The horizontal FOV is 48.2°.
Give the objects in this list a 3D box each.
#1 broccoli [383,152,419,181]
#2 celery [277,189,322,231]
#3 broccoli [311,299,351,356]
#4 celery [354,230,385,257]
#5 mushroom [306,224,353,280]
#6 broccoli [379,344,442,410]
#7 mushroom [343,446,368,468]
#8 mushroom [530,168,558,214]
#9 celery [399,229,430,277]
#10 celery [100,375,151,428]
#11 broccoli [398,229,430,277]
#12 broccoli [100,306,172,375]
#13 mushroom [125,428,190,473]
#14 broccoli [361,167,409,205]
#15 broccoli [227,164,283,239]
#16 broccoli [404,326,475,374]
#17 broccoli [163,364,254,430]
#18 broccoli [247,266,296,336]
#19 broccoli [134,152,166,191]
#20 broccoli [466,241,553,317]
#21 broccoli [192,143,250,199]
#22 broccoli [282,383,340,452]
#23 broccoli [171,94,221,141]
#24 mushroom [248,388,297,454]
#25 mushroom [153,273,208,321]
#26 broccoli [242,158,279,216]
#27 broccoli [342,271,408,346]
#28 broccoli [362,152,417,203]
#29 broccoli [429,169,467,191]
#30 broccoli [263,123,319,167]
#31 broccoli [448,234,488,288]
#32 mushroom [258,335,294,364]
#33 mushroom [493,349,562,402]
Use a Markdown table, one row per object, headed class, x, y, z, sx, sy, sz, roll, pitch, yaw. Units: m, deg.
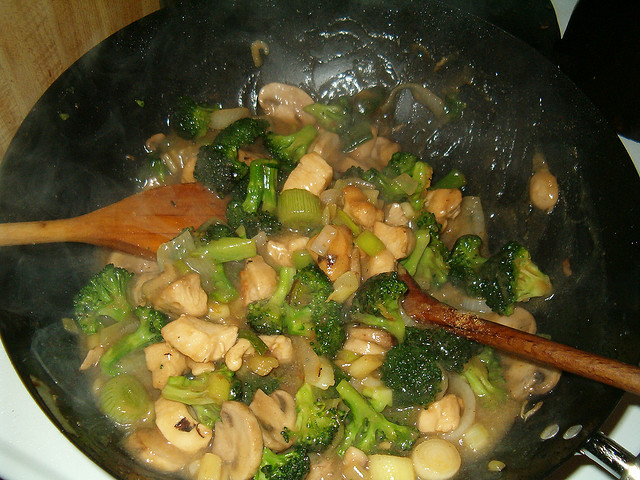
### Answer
| class | x | y | z | sx | sy | sz | roll | pitch | yaw |
| --- | --- | --- | --- | --- | --- | --- | --- | --- | --- |
| broccoli | 0.529 | -0.495 | 4.705 | 0.068 | 0.151 | 0.193 | 40 | 101 | 0 |
| celery | -0.124 | -0.201 | 4.534 | 0.216 | 0.227 | 0.255 | -1 | 81 | -9 |
| broccoli | 0.057 | 0.526 | 4.347 | 0.203 | 0.112 | 0.332 | -1 | 76 | -4 |
| celery | 0.320 | 0.021 | 4.535 | 0.183 | 0.043 | 0.125 | 42 | 85 | 6 |
| mushroom | 0.085 | 0.045 | 4.521 | 0.286 | 0.118 | 0.359 | 33 | 68 | 13 |
| broccoli | 0.540 | 0.810 | 4.262 | 0.361 | 0.120 | 0.374 | 4 | 82 | 2 |
| mushroom | 0.211 | 1.276 | 4.203 | 0.143 | 0.030 | 0.112 | 7 | 82 | 2 |
| mushroom | 1.385 | -0.303 | 4.411 | 0.127 | 0.114 | 0.279 | 0 | 94 | 17 |
| celery | 0.623 | 0.079 | 4.622 | 0.155 | 0.091 | 0.326 | 28 | 95 | 43 |
| celery | -1.136 | 0.926 | 4.184 | 0.251 | 0.087 | 0.275 | -20 | 79 | -33 |
| broccoli | 0.622 | 0.085 | 4.659 | 0.158 | 0.095 | 0.314 | 39 | 86 | 1 |
| broccoli | -1.138 | 0.607 | 4.385 | 0.426 | 0.207 | 0.296 | -37 | 72 | -17 |
| mushroom | -0.951 | 1.239 | 4.175 | 0.303 | 0.081 | 0.216 | 37 | 39 | -3 |
| broccoli | 0.423 | -0.355 | 4.681 | 0.270 | 0.084 | 0.198 | 25 | 71 | 2 |
| broccoli | -0.401 | -0.238 | 4.510 | 0.303 | 0.167 | 0.505 | 2 | 85 | -6 |
| broccoli | 0.727 | 0.632 | 4.318 | 0.332 | 0.090 | 0.247 | 30 | 85 | -3 |
| broccoli | -0.671 | 0.883 | 4.182 | 0.357 | 0.119 | 0.431 | 10 | 80 | 8 |
| broccoli | -0.298 | 0.420 | 4.478 | 0.219 | 0.177 | 0.424 | 17 | 66 | 8 |
| broccoli | -1.153 | -0.457 | 4.806 | 0.232 | 0.078 | 0.189 | -22 | 82 | -2 |
| broccoli | 1.172 | 0.265 | 4.442 | 0.490 | 0.235 | 0.407 | -31 | 82 | -3 |
| broccoli | -0.631 | -0.456 | 4.583 | 0.299 | 0.093 | 0.323 | -27 | 79 | 10 |
| broccoli | -0.048 | 1.047 | 4.219 | 0.274 | 0.129 | 0.339 | -17 | 73 | -13 |
| broccoli | -0.763 | -0.808 | 4.746 | 0.290 | 0.413 | 0.218 | 7 | 115 | -28 |
| mushroom | -0.271 | 1.057 | 4.223 | 0.237 | 0.080 | 0.357 | -22 | 76 | 12 |
| mushroom | -0.805 | 0.338 | 4.429 | 0.097 | 0.316 | 0.339 | 17 | 66 | -31 |
| broccoli | -0.401 | -0.333 | 4.696 | 0.194 | 0.081 | 0.369 | 9 | 73 | -16 |
| broccoli | 0.387 | 0.480 | 4.437 | 0.381 | 0.340 | 0.422 | -29 | 61 | 6 |
| broccoli | 0.472 | -0.411 | 4.750 | 0.305 | 0.115 | 0.346 | 23 | 83 | 6 |
| broccoli | 0.862 | -0.388 | 4.664 | 0.178 | 0.060 | 0.141 | -8 | 63 | 17 |
| broccoli | -0.185 | -0.629 | 4.814 | 0.274 | 0.104 | 0.240 | -41 | 86 | -25 |
| broccoli | 0.926 | 0.124 | 4.549 | 0.218 | 0.100 | 0.337 | -12 | 78 | 29 |
| mushroom | -0.264 | 0.662 | 4.316 | 0.195 | 0.088 | 0.168 | -1 | 82 | 1 |
| mushroom | 1.270 | 0.861 | 4.320 | 0.306 | 0.147 | 0.259 | 16 | 83 | 3 |
